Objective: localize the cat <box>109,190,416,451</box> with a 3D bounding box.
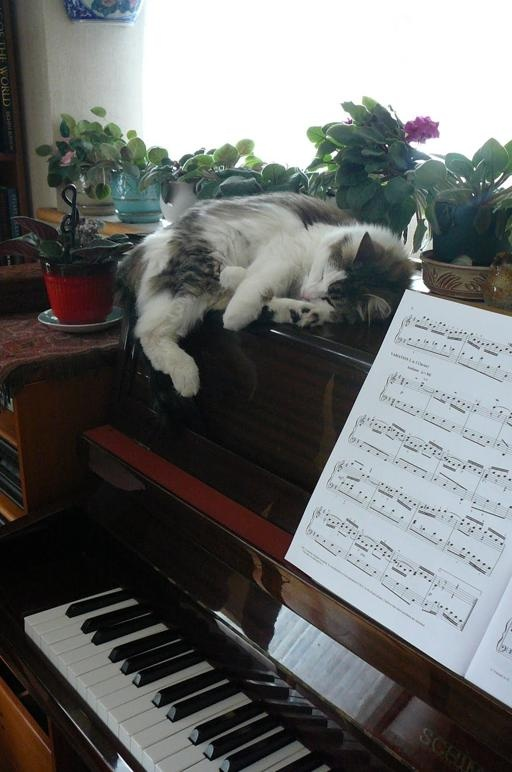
[{"bbox_3d":[0.022,-0.125,0.950,0.299,0.136,0.394,-44,45,-11],"label":"cat"}]
